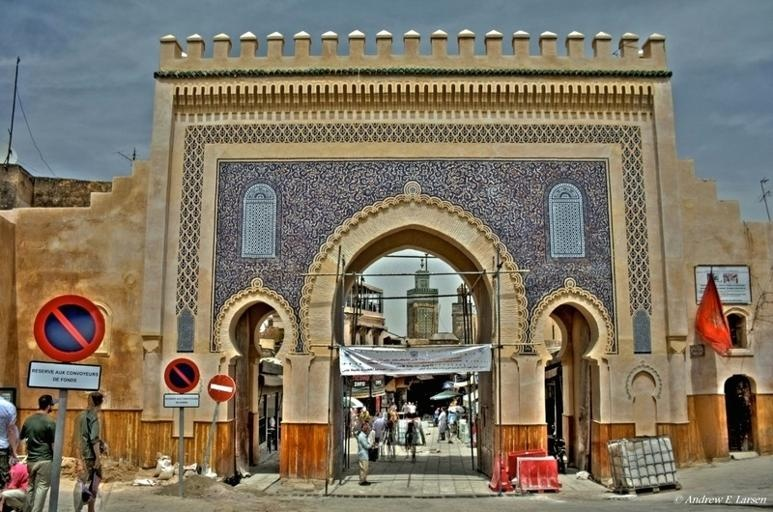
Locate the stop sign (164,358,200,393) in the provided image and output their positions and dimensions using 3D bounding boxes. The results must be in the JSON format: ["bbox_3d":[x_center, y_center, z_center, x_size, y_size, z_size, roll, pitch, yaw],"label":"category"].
[{"bbox_3d":[-3.867,2.251,16.534,0.600,0.659,0.421,1,-13,-11],"label":"stop sign"}]

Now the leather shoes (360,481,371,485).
[{"bbox_3d":[-0.455,4.729,18.307,0.189,0.078,0.075,0,-2,3],"label":"leather shoes"}]

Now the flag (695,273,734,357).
[{"bbox_3d":[6.970,1.246,18.868,0.669,1.763,0.245,-4,-13,12],"label":"flag"}]

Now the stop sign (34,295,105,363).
[{"bbox_3d":[-4.670,1.040,12.875,0.940,0.976,0.339,3,-13,-20],"label":"stop sign"}]
